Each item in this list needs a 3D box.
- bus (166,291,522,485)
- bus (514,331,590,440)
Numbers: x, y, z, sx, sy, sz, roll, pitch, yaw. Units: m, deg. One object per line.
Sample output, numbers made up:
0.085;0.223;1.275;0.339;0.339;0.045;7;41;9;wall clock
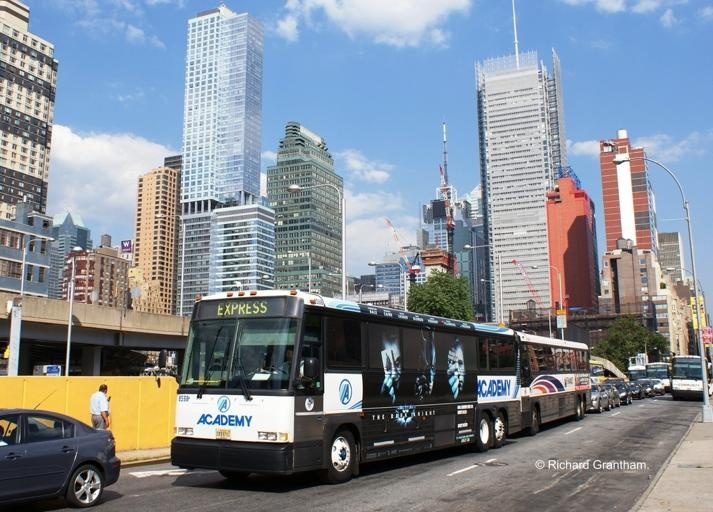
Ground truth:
0.821;4.121;22.267;3.873;4.585;13.811;-6;-12;37;bus
8.703;5.761;32.287;1.758;3.963;10.835;-5;-10;33;bus
